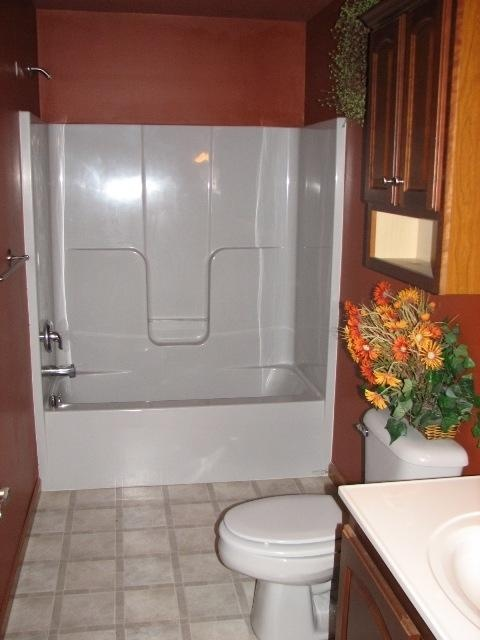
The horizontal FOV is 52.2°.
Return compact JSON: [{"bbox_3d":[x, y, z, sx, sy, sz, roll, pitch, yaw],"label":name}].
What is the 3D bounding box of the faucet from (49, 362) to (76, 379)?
[{"bbox_3d":[-1.003,0.285,2.752,0.121,0.057,0.066,-2,7,-34],"label":"faucet"}]
